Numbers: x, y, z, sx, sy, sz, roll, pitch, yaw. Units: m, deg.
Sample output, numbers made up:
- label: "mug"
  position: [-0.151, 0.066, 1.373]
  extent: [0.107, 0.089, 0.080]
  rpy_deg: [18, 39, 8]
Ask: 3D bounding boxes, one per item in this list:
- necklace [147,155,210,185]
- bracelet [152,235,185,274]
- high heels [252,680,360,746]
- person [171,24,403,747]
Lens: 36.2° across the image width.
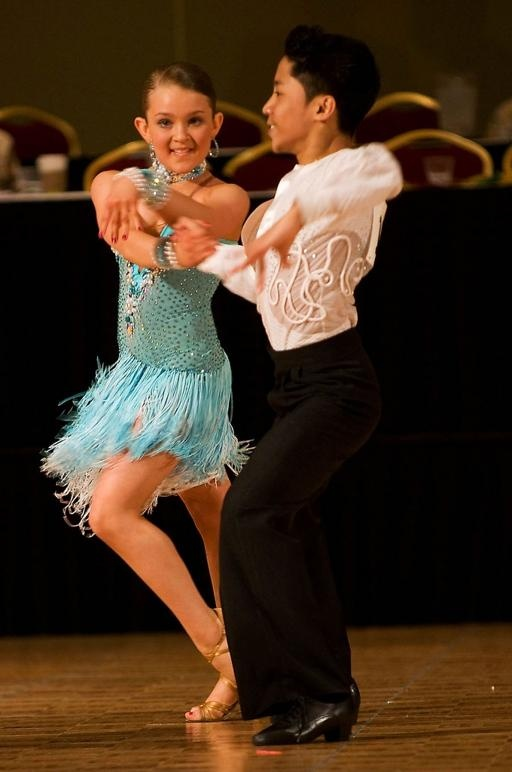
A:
- label: "necklace"
  position: [-0.159, -0.396, 1.466]
  extent: [0.101, 0.036, 0.111]
  rpy_deg: [0, 1, 5]
- label: "bracelet"
  position: [-0.148, -0.215, 1.294]
  extent: [0.043, 0.054, 0.051]
  rpy_deg: [-1, 55, 24]
- label: "high heels"
  position: [0.078, 0.505, 1.221]
  extent: [0.210, 0.092, 0.063]
  rpy_deg: [-1, -6, 1]
- label: "person"
  position: [0.076, -0.007, 1.250]
  extent: [0.351, 1.112, 0.407]
  rpy_deg: [-5, 13, -4]
